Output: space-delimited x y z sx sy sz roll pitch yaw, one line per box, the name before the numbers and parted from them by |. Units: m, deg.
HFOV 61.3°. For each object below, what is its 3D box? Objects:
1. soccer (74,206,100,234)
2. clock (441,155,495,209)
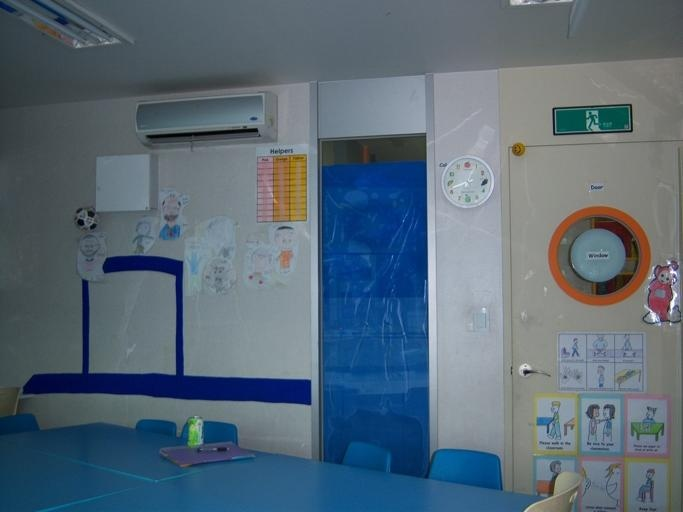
soccer | -2.408 -0.341 5.409 0.261 0.226 0.095 1 2 21
clock | 1.062 -0.608 4.756 0.379 0.449 0.056 0 -2 11
